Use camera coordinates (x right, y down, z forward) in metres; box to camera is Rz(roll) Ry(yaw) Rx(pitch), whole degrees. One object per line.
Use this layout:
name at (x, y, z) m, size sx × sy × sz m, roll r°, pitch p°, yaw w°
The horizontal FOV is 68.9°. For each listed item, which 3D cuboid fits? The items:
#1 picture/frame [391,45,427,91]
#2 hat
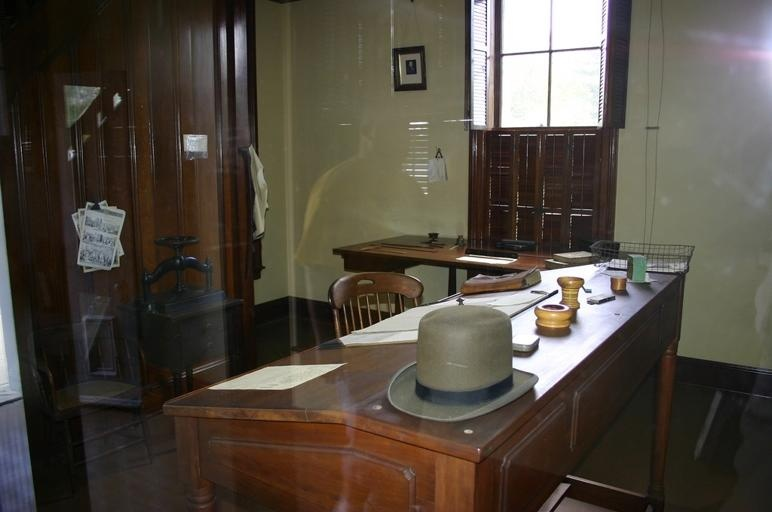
picture/frame at (0.041, -0.322, 0.969) m, size 0.056 × 0.067 × 0.003 m, roll -9°, pitch 22°, yaw -12°
hat at (0.122, 0.146, 0.959) m, size 0.207 × 0.116 × 0.201 m, roll 1°, pitch 12°, yaw 31°
